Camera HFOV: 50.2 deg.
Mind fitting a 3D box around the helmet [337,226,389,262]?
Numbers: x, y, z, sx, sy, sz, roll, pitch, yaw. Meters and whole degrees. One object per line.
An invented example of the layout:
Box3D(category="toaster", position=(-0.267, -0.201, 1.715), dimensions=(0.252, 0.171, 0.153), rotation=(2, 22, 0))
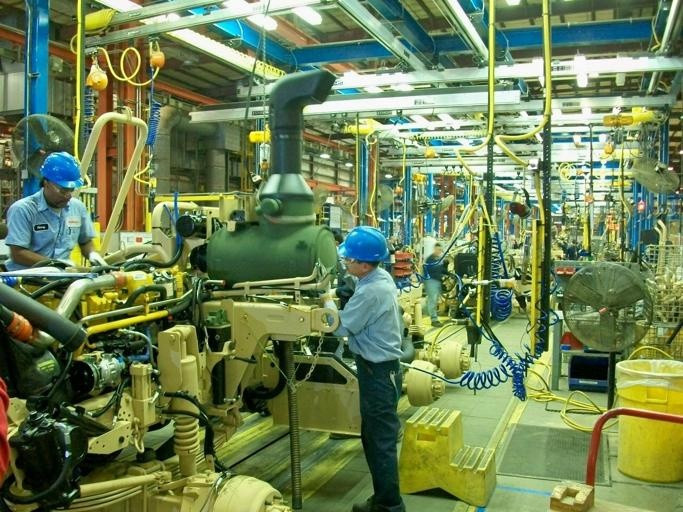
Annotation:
Box3D(category="helmet", position=(0.171, -0.113, 6.098), dimensions=(0.338, 0.186, 0.279), rotation=(17, 28, 32))

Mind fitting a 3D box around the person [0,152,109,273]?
Box3D(category="person", position=(-2.571, -0.413, 6.490), dimensions=(0.830, 1.007, 0.666), rotation=(-6, 12, -36))

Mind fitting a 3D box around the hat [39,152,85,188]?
Box3D(category="hat", position=(-2.421, -0.753, 6.316), dimensions=(0.329, 0.189, 0.277), rotation=(23, 33, 8))

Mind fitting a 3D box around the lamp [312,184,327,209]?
Box3D(category="lamp", position=(-0.225, -0.613, 7.519), dimensions=(0.171, 0.223, 0.223), rotation=(2, -18, -7))

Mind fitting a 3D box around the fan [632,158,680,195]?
Box3D(category="fan", position=(4.899, -1.254, 11.366), dimensions=(0.662, 0.549, 0.523), rotation=(5, 10, 22))
